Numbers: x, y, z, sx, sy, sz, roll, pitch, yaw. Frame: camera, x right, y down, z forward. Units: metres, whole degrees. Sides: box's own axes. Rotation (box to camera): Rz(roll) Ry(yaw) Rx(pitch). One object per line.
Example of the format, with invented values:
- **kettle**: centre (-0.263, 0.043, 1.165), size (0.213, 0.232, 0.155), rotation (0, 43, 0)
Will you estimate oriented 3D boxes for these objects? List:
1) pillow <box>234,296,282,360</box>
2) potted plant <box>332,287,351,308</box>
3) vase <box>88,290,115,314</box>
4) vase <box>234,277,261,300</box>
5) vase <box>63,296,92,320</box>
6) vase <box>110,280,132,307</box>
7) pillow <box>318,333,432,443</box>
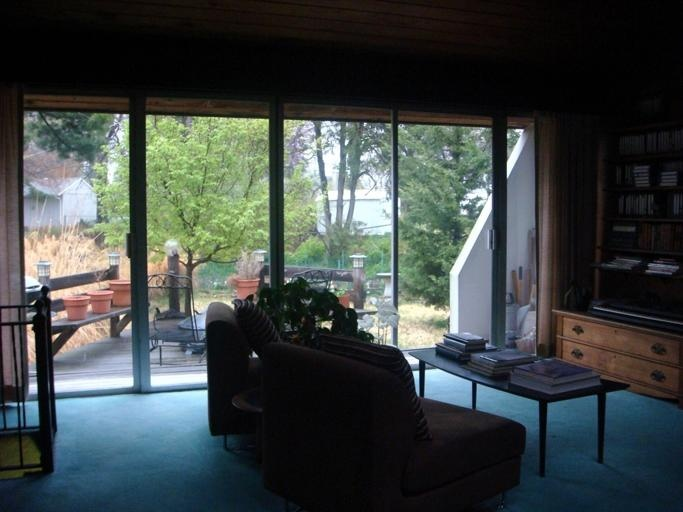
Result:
- **pillow**: centre (-0.598, 0.526, 4.268), size (0.312, 0.416, 0.169), rotation (1, 12, 5)
- **potted plant**: centre (0.021, 0.399, 5.668), size (0.191, 0.192, 0.171), rotation (-3, 0, 6)
- **vase**: centre (-2.149, 0.411, 5.339), size (0.202, 0.167, 0.204), rotation (-5, -1, -4)
- **vase**: centre (-0.887, 0.305, 5.585), size (0.211, 0.162, 0.215), rotation (0, -3, 4)
- **vase**: centre (-2.339, 0.468, 5.308), size (0.197, 0.152, 0.202), rotation (-2, -6, 21)
- **vase**: centre (-1.984, 0.342, 5.366), size (0.217, 0.197, 0.215), rotation (0, -2, -28)
- **pillow**: centre (0.233, 0.723, 3.416), size (0.175, 0.590, 0.580), rotation (-15, 0, -20)
